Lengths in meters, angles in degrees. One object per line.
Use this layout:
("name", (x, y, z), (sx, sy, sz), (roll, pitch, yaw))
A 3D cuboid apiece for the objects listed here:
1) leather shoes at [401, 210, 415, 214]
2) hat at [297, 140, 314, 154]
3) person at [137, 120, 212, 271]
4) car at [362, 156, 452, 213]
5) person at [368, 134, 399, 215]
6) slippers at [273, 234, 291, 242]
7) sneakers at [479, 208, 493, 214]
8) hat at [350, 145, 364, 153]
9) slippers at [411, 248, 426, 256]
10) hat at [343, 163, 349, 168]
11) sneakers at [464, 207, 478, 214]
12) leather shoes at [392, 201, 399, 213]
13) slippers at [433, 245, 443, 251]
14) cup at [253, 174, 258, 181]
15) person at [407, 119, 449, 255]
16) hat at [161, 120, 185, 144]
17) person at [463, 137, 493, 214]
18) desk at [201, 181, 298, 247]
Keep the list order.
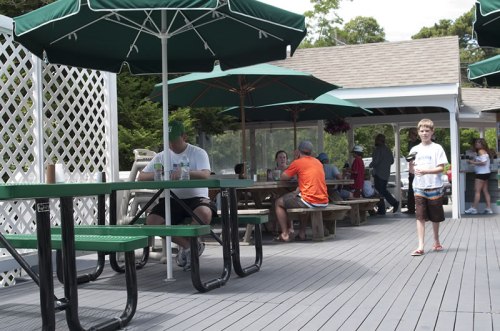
("leather shoes", (4.614, 1.341, 14.983), (0.128, 0.162, 0.369), (3, 1, -43))
("hat", (1.072, -0.370, 10.108), (0.218, 0.174, 0.289), (3, 5, -12))
("person", (-1.023, 0.424, 7.658), (1.184, 2.145, 1.068), (-5, -6, 14))
("car", (4.973, 0.286, 17.218), (2.080, 2.114, 3.605), (1, -13, -5))
("person", (3.819, 0.227, 14.770), (0.658, 2.221, 1.240), (-4, -1, 17))
("slippers", (0.623, 1.403, 9.998), (0.247, 0.095, 0.139), (3, -3, 22))
("sneakers", (6.458, 1.233, 14.062), (0.145, 0.167, 0.370), (4, -4, -44))
("hat", (2.835, -0.444, 13.947), (0.436, 0.239, 0.337), (5, 2, 18))
("slippers", (2.685, 1.395, 8.289), (0.249, 0.111, 0.096), (-2, -3, 39))
("hat", (2.770, 0.013, 14.801), (0.149, 0.200, 0.207), (-1, -11, 5))
("sneakers", (6.088, 1.237, 14.169), (0.402, 0.184, 0.157), (2, -4, 31))
("leather shoes", (4.304, 1.208, 15.200), (0.122, 0.353, 0.151), (13, 13, 36))
("slippers", (3.134, 1.376, 8.611), (0.066, 0.074, 0.182), (0, -12, 1))
("cup", (0.102, 0.252, 10.427), (0.110, 0.129, 0.115), (-2, -3, 0))
("person", (2.836, 0.343, 8.237), (0.617, 2.186, 0.250), (-4, -1, 17))
("hat", (-1.120, -0.519, 7.442), (0.311, 0.259, 0.465), (1, 21, 29))
("person", (6.257, 0.288, 14.083), (0.603, 2.153, 0.692), (-4, -1, 26))
("desk", (0.224, 0.682, 10.392), (1.924, 1.277, 1.140), (-3, -8, 23))
